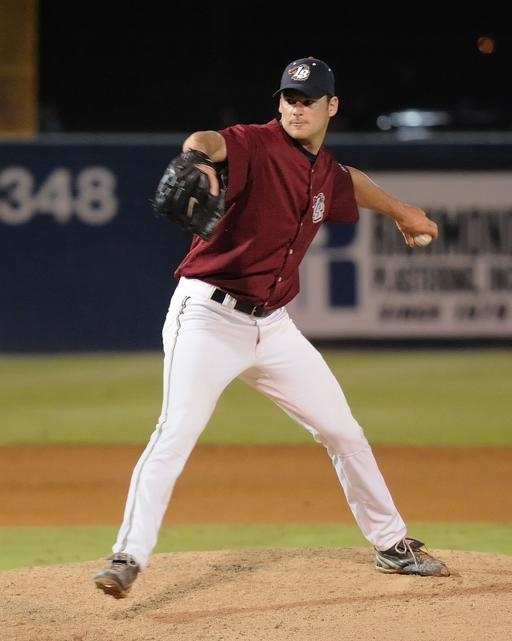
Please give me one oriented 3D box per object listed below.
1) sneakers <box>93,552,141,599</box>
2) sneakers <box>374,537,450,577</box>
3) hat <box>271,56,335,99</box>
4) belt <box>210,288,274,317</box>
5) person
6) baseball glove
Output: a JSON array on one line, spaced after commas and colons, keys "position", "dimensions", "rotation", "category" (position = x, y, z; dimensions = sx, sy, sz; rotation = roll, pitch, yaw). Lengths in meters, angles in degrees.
[{"position": [-0.408, 0.759, 2.546], "dimensions": [0.098, 0.139, 0.121], "rotation": [0, -1, 19], "category": "sneakers"}, {"position": [0.571, 0.875, 3.217], "dimensions": [0.287, 0.094, 0.118], "rotation": [1, -5, 3], "category": "sneakers"}, {"position": [0.164, -0.801, 2.909], "dimensions": [0.161, 0.101, 0.207], "rotation": [5, 5, 23], "category": "hat"}, {"position": [-0.054, -0.077, 2.825], "dimensions": [0.127, 0.025, 0.122], "rotation": [18, 1, 27], "category": "belt"}, {"position": [0.047, 0.017, 2.906], "dimensions": [1.275, 1.807, 0.472], "rotation": [1, -1, -41], "category": "person"}, {"position": [-0.213, -0.359, 2.565], "dimensions": [0.216, 0.242, 0.124], "rotation": [25, -8, -20], "category": "baseball glove"}]
